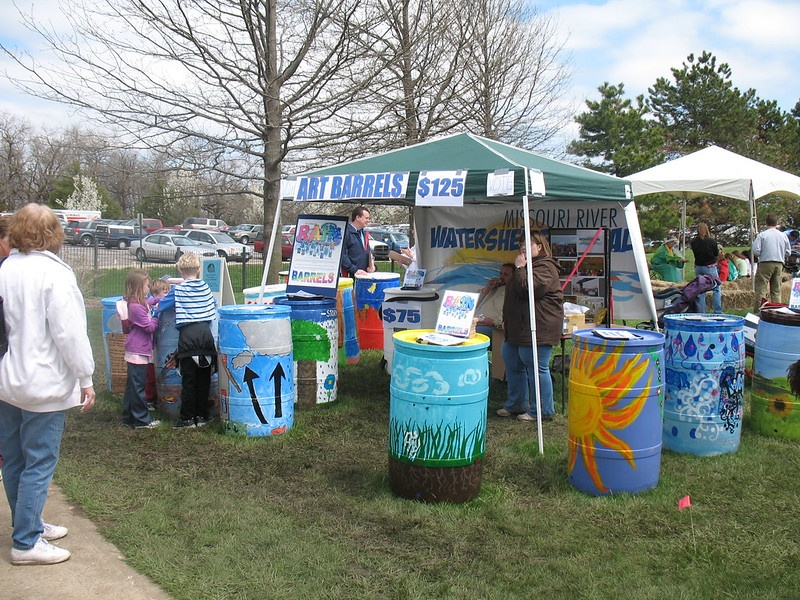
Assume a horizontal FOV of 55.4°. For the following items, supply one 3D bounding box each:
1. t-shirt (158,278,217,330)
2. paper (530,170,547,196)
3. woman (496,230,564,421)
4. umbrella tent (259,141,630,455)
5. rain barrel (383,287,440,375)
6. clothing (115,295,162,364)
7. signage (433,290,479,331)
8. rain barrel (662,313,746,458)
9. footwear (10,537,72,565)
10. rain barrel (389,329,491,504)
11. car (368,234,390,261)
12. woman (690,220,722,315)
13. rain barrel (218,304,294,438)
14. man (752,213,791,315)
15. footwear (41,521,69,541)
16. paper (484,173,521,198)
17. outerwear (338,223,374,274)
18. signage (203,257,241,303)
[{"bbox_3d":[-2.402,0.007,8.816,0.713,0.589,0.410,-5,12,-34],"label":"t-shirt"},{"bbox_3d":[1.485,-1.277,8.322,0.258,0.273,0.073,2,2,-18],"label":"paper"},{"bbox_3d":[1.472,0.411,8.798,0.709,2.175,0.787,5,16,20],"label":"woman"},{"bbox_3d":[0.643,-1.208,9.675,3.125,1.797,3.187,16,23,30],"label":"umbrella tent"},{"bbox_3d":[0.162,0.553,10.694,0.829,1.239,0.822,4,-1,0],"label":"rain barrel"},{"bbox_3d":[-3.035,0.361,8.936,0.473,0.733,0.531,0,2,1],"label":"clothing"},{"bbox_3d":[0.546,0.135,7.578,0.355,0.318,0.607,3,15,11],"label":"signage"},{"bbox_3d":[3.135,0.910,7.965,0.809,1.373,0.519,5,16,18],"label":"rain barrel"},{"bbox_3d":[-2.875,2.048,6.205,0.477,0.205,0.187,1,1,-12],"label":"footwear"},{"bbox_3d":[0.345,1.125,6.991,0.810,1.448,0.446,4,15,14],"label":"rain barrel"},{"bbox_3d":[-1.073,-2.415,35.278,1.095,1.098,2.241,-3,7,-22],"label":"car"},{"bbox_3d":[5.972,-0.575,14.792,0.516,1.821,0.548,-7,3,-38],"label":"woman"},{"bbox_3d":[-1.596,0.807,8.468,0.808,1.422,0.391,-3,15,-11],"label":"rain barrel"},{"bbox_3d":[7.408,-0.709,15.350,0.632,1.905,0.604,-1,14,11],"label":"man"},{"bbox_3d":[-2.894,1.972,6.460,0.257,0.112,0.100,1,5,-9],"label":"footwear"},{"bbox_3d":[1.098,-1.243,8.235,0.257,0.221,0.027,-1,-4,44],"label":"paper"},{"bbox_3d":[-0.697,-0.759,11.593,0.388,0.678,0.686,9,18,24],"label":"outerwear"},{"bbox_3d":[-2.468,-0.262,10.180,0.443,0.600,0.353,1,18,11],"label":"signage"}]
